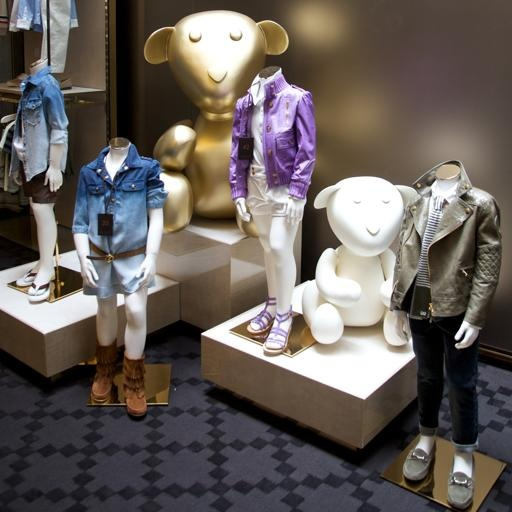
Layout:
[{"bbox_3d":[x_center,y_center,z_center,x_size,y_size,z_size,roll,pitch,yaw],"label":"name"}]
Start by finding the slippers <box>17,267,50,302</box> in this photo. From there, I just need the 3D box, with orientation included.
[{"bbox_3d":[-1.273,0.164,2.742,0.129,0.079,0.266,12,13,-7],"label":"slippers"}]

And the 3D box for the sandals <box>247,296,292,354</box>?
[{"bbox_3d":[0.083,0.326,2.331,0.136,0.074,0.277,3,18,16],"label":"sandals"}]

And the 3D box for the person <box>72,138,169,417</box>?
[{"bbox_3d":[-0.608,0.096,2.192,0.407,1.233,0.341,-3,12,-14],"label":"person"}]

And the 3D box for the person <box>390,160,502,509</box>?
[{"bbox_3d":[0.654,0.285,1.630,0.288,1.189,0.391,-6,14,-28],"label":"person"}]

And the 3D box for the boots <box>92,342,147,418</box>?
[{"bbox_3d":[-0.648,0.588,2.256,0.196,0.183,0.352,2,16,-6],"label":"boots"}]

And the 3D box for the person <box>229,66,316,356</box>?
[{"bbox_3d":[0.069,-0.215,2.230,0.375,1.253,0.375,0,12,-4],"label":"person"}]

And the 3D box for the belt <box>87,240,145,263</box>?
[{"bbox_3d":[-0.611,-0.018,2.088,0.237,0.071,0.069,-1,14,-8],"label":"belt"}]

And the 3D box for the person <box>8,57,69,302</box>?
[{"bbox_3d":[-1.234,-0.431,2.703,0.322,1.292,0.448,-7,14,-32],"label":"person"}]

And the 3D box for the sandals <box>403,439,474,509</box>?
[{"bbox_3d":[0.690,0.788,1.748,0.177,0.085,0.256,11,23,29],"label":"sandals"}]
